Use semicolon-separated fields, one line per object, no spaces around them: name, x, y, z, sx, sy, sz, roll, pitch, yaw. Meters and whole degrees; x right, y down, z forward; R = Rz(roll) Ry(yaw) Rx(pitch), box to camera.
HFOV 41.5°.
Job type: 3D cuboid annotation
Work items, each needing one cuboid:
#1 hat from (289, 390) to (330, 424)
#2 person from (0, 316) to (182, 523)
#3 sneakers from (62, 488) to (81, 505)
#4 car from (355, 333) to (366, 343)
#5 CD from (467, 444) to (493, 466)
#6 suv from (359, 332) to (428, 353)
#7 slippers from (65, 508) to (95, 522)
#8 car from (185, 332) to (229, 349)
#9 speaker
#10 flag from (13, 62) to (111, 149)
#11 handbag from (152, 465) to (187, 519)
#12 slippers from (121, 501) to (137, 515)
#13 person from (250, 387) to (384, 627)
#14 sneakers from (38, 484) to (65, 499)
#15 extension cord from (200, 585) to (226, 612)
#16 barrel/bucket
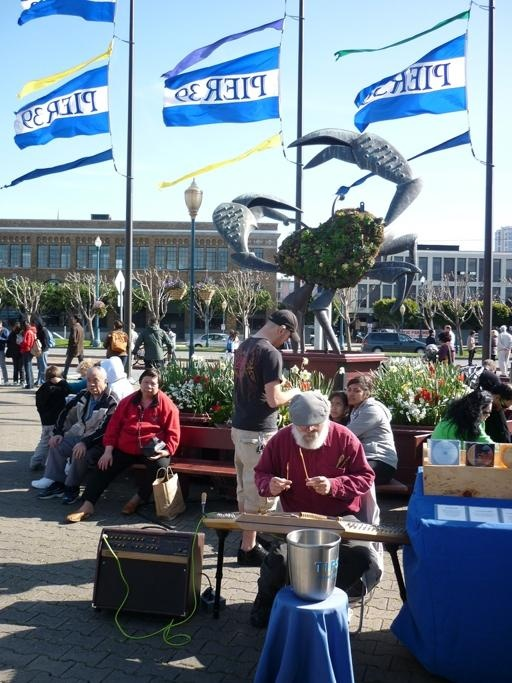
hat;0.302;0.387;3.840;0.226;0.195;0.218;-1;3;-1
person;-1.501;0.915;6.736;1.156;1.325;1.673;-3;3;-31
sneakers;-1.816;1.512;6.638;0.138;0.135;0.207;-1;3;6
car;8.683;-0.365;56.458;0.872;0.666;2.031;0;-2;-4
CD;1.200;0.604;3.595;0.123;0.110;0.040;0;-7;8
suv;8.393;0.008;41.768;3.472;1.241;1.880;-1;3;7
slippers;-1.605;1.572;6.067;0.076;0.089;0.209;2;-16;19
car;-3.336;-0.080;49.008;2.510;1.037;1.135;2;0;4
speaker;-0.650;1.400;4.187;0.606;0.512;0.491;4;-12;2
flag;-3.451;-4.417;12.428;0.228;1.478;2.061;26;30;23
handbag;-0.797;1.376;6.148;0.179;0.448;0.392;-16;-8;16
slippers;-1.162;1.525;6.252;0.074;0.060;0.151;10;30;1
person;0.368;0.973;3.982;0.808;1.309;0.771;-2;-7;28
sneakers;-2.040;1.516;6.834;0.312;0.145;0.107;2;-2;-33
extension cord;-0.265;1.610;4.213;0.138;0.086;0.140;-1;1;14
barrel/bucket;0.258;1.007;3.008;0.248;0.269;0.246;0;-4;0
